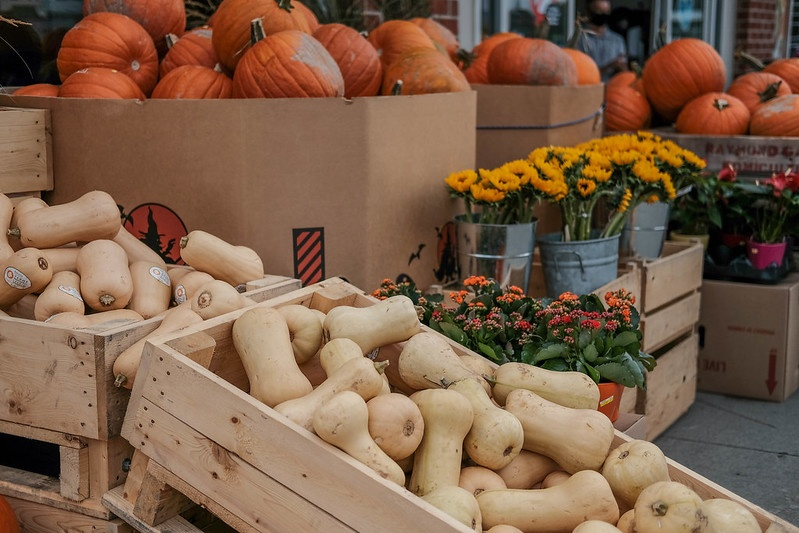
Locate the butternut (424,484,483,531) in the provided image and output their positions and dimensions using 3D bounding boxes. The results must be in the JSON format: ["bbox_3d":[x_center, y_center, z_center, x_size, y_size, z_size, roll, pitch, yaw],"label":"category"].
[{"bbox_3d":[0.185,0.709,2.227,0.158,0.155,0.140,11,-1,30],"label":"butternut"}]

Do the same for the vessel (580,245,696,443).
[{"bbox_3d":[1.206,0.367,3.579,0.483,0.818,0.974,3,7,31],"label":"vessel"}]
